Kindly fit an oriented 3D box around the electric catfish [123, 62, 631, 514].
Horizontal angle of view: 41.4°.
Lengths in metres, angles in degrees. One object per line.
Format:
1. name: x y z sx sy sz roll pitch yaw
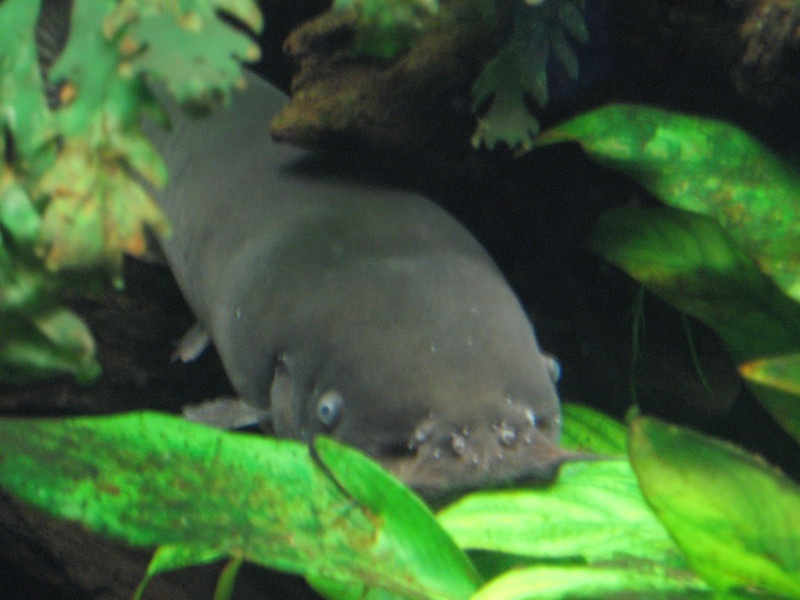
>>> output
1. electric catfish: -0.050 0.003 1.055 0.244 0.192 0.616 -9 48 -34
